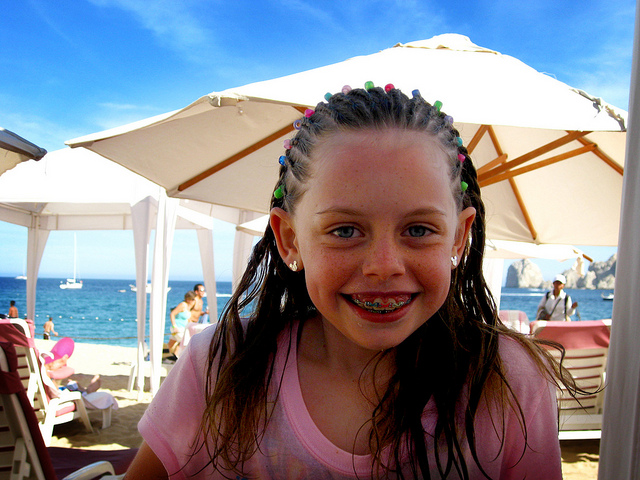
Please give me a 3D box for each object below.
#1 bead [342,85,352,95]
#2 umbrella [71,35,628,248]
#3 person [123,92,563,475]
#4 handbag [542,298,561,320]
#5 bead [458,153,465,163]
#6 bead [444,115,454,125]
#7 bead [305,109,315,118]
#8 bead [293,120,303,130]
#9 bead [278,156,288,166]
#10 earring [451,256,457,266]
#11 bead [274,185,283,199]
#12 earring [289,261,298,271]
[{"bbox_3d":[0.110,-0.614,2.079,0.036,0.045,0.038,9,10,2],"label":"bead"},{"bbox_3d":[-0.547,-0.572,3.603,2.082,1.066,1.988,2,4,-37],"label":"umbrella"},{"bbox_3d":[0.170,0.189,2.122,1.576,1.536,0.680,-1,-4,13],"label":"person"},{"bbox_3d":[3.907,1.174,8.510,0.094,0.324,0.310,32,-3,1],"label":"handbag"},{"bbox_3d":[0.574,-0.331,2.050,0.031,0.018,0.032,8,-16,33],"label":"bead"},{"bbox_3d":[0.537,-0.500,2.099,0.040,0.023,0.055,9,-9,-11],"label":"bead"},{"bbox_3d":[-0.042,-0.513,2.064,0.032,0.031,0.032,-5,0,36],"label":"bead"},{"bbox_3d":[-0.088,-0.473,2.101,0.038,0.041,0.014,-3,-29,5],"label":"bead"},{"bbox_3d":[-0.157,-0.339,2.156,0.029,0.025,0.034,1,-3,-39],"label":"bead"},{"bbox_3d":[0.521,0.082,1.965,0.011,0.037,0.059,-2,-5,31],"label":"earring"},{"bbox_3d":[-0.168,-0.200,2.099,0.022,0.055,0.055,2,-4,-24],"label":"bead"},{"bbox_3d":[-0.101,0.102,2.002,0.023,0.034,0.008,11,-8,20],"label":"earring"}]
